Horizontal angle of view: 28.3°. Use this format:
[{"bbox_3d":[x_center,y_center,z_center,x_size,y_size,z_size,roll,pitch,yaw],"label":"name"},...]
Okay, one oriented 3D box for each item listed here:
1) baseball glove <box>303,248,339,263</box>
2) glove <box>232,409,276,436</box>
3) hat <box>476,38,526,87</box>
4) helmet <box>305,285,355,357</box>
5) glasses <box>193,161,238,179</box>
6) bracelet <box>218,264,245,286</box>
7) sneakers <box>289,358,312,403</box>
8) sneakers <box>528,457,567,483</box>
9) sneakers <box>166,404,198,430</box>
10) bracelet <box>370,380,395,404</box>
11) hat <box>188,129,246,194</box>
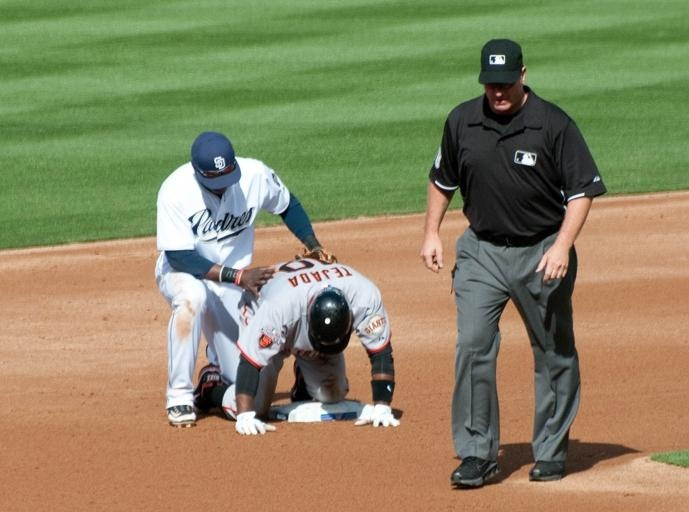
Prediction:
[{"bbox_3d":[-0.239,-0.010,13.398,0.371,0.145,0.130,9,9,20],"label":"baseball glove"},{"bbox_3d":[-0.816,1.545,12.827,0.272,0.070,0.266,-5,22,-41],"label":"glove"},{"bbox_3d":[1.413,-1.743,12.106,0.312,0.236,0.477,4,28,14],"label":"hat"},{"bbox_3d":[-0.121,0.607,12.627,0.439,0.582,0.316,-2,0,-1],"label":"helmet"},{"bbox_3d":[-1.239,-0.847,13.280,0.414,0.143,0.145,-3,-2,-6],"label":"glasses"},{"bbox_3d":[-1.087,0.173,13.112,0.198,0.073,0.191,3,14,-11],"label":"bracelet"},{"bbox_3d":[-0.422,1.238,13.375,0.165,0.458,0.200,3,10,1],"label":"sneakers"},{"bbox_3d":[1.817,1.918,12.115,0.313,0.142,0.152,2,1,-19],"label":"sneakers"},{"bbox_3d":[-1.556,1.542,13.081,0.218,0.203,0.455,-1,-4,-12],"label":"sneakers"},{"bbox_3d":[0.369,1.276,12.885,0.224,0.185,0.216,2,-1,28],"label":"bracelet"},{"bbox_3d":[-1.263,-0.961,13.297,0.416,0.582,0.322,-23,-20,-15],"label":"hat"}]
